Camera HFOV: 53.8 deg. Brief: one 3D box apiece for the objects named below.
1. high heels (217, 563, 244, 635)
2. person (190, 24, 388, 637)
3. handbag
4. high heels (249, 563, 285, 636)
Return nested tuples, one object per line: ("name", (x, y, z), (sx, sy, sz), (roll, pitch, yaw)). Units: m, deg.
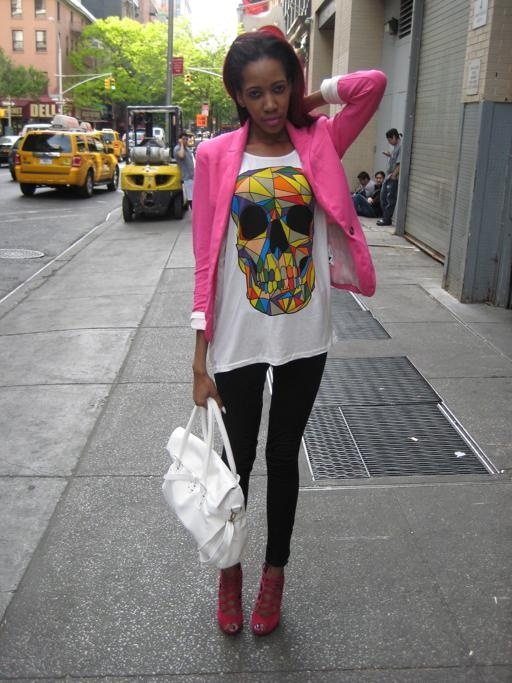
("high heels", (-0.081, 0.827, 1.611), (0.071, 0.223, 0.087), (-1, -9, 1))
("person", (0.091, 0.034, 1.526), (0.560, 1.776, 0.282), (-1, 10, -8))
("handbag", (-0.164, 0.386, 1.402), (0.143, 0.382, 0.316), (-7, 13, -37))
("high heels", (0.036, 0.831, 1.608), (0.076, 0.091, 0.233), (2, 44, 5))
